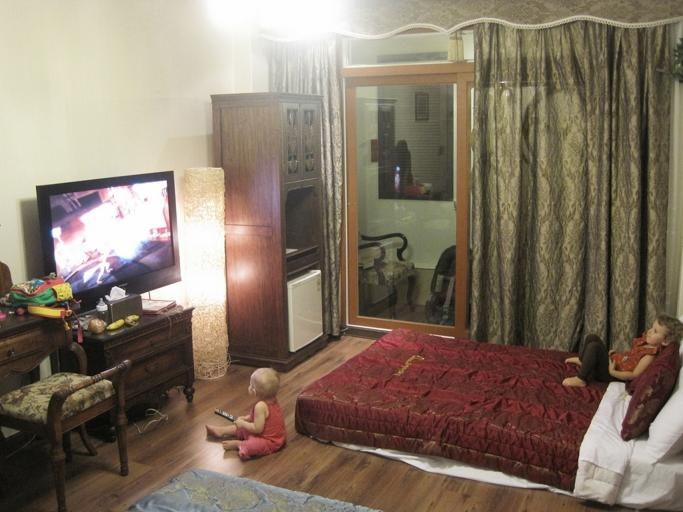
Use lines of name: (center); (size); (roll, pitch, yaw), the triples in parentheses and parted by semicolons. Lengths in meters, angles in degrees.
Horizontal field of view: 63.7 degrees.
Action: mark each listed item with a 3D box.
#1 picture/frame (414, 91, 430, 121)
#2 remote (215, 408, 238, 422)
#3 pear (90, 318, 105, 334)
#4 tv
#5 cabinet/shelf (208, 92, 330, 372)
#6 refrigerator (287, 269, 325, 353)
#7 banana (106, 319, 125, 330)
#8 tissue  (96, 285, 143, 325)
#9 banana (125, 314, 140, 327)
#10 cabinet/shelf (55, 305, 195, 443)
picture/frame: (0.741, -1.383, 5.105); (0.144, 0.269, 0.040); (1, 16, 13)
remote: (-0.867, 1.157, 4.088); (0.255, 0.042, 0.073); (13, 8, 34)
pear: (-1.618, 0.459, 3.654); (0.090, 0.091, 0.092); (-3, 4, -27)
tv: (-1.684, -0.122, 3.909); (0.312, 0.819, 0.950); (2, 10, 27)
cabinet/shelf: (-0.669, -0.245, 5.033); (0.795, 2.378, 0.904); (4, 17, 23)
refrigerator: (-0.343, 0.503, 5.043); (0.373, 0.704, 0.734); (-1, 5, 16)
banana: (-1.526, 0.464, 3.735); (0.045, 0.027, 0.091); (-2, 16, 19)
tissue : (-1.563, 0.344, 3.877); (0.243, 0.156, 0.251); (7, 10, 38)
banana: (-1.459, 0.452, 3.857); (0.059, 0.031, 0.080); (1, 14, -3)
cabinet/shelf: (-1.475, 0.780, 3.684); (0.491, 0.691, 0.825); (5, 13, 23)
